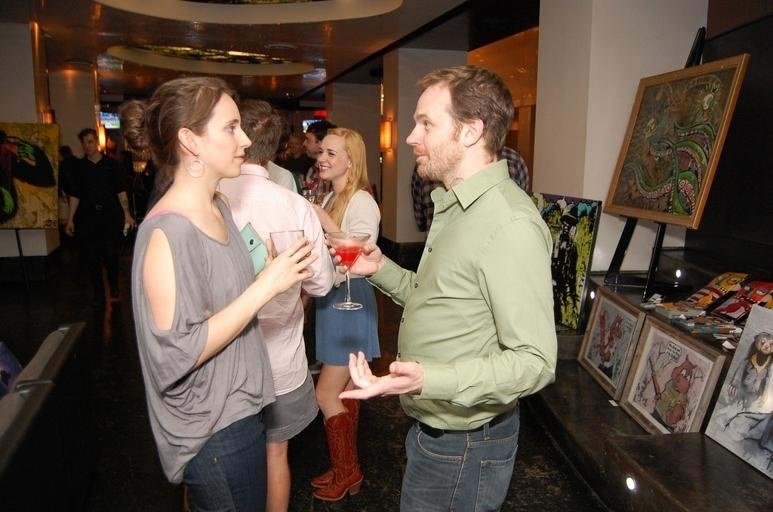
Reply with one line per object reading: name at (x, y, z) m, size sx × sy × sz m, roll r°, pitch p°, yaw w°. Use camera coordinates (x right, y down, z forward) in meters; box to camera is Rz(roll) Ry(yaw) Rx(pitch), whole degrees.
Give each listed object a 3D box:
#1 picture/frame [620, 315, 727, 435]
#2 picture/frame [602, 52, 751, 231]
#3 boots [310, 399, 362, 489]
picture/frame at (1.801, 0.807, 3.089) m, size 0.606 × 0.635 × 0.037 m, roll 28°, pitch -13°, yaw -9°
picture/frame at (2.305, -0.924, 3.816) m, size 0.091 × 1.230 × 1.344 m, roll 7°, pitch 8°, yaw -14°
boots at (-0.344, 1.369, 3.350) m, size 0.347 × 0.546 × 0.260 m, roll -1°, pitch -2°, yaw -12°
